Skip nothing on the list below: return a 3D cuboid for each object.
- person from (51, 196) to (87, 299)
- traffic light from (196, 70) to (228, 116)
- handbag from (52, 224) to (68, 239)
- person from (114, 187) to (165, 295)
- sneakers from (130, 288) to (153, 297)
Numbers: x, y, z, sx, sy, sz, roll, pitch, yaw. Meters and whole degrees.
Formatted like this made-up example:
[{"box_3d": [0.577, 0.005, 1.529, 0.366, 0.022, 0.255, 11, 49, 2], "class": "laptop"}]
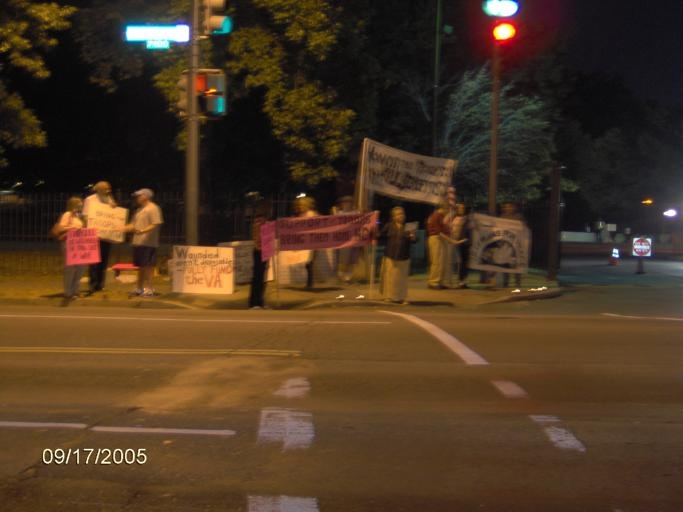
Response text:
[{"box_3d": [-5.193, -0.118, 15.789, 0.600, 1.865, 1.304, -3, 11, -17], "class": "person"}, {"box_3d": [-2.554, -3.206, 16.194, 0.575, 0.891, 0.378, -2, 10, -12], "class": "traffic light"}, {"box_3d": [-5.343, -0.438, 15.630, 0.202, 0.293, 0.461, -9, 14, -42], "class": "handbag"}, {"box_3d": [-3.803, -0.258, 15.942, 0.657, 2.001, 0.843, -3, 11, -16], "class": "person"}, {"box_3d": [-3.813, 0.717, 15.785, 0.410, 0.183, 0.164, 6, 1, -13], "class": "sneakers"}]
